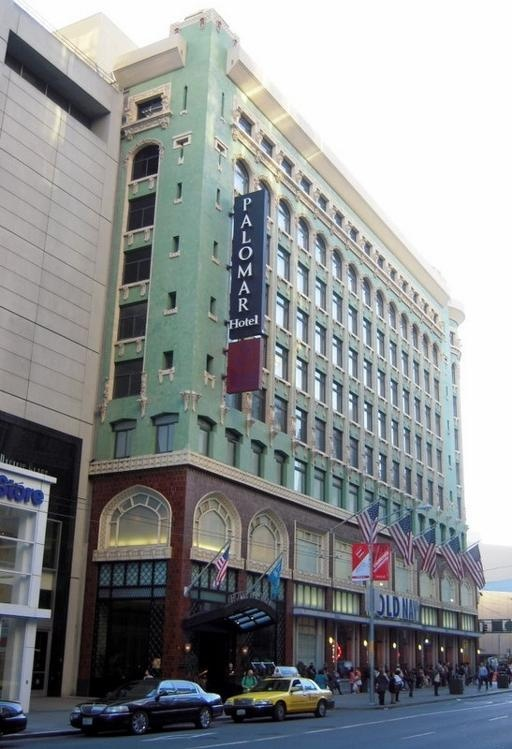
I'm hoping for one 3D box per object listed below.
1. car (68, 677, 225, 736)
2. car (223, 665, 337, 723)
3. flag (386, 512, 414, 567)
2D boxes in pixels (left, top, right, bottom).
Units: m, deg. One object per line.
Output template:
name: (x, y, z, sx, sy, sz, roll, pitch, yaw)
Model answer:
car: (-2.745, 8.707, 19.125, 1.163, 1.314, 4.895, -10, -23, 26)
car: (0.766, 10.628, 24.439, 1.610, 1.193, 3.688, -16, -28, 26)
flag: (8.843, 9.610, 43.426, 1.926, 3.968, 0.360, 12, -43, -21)
